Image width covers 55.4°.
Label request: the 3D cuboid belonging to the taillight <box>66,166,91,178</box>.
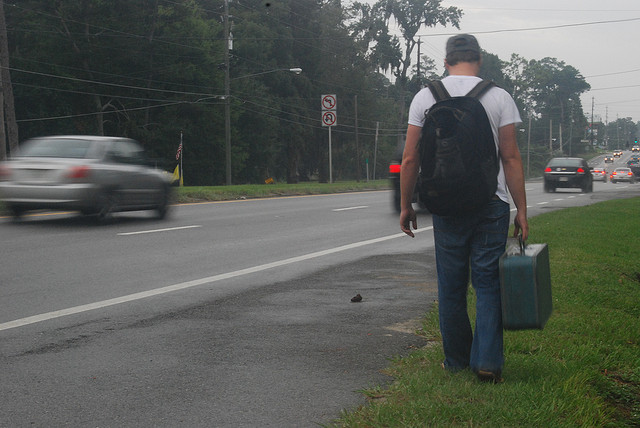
[{"bbox_3d":[-5.326,-0.919,13.433,0.446,0.246,0.093,-2,5,-26],"label":"taillight"}]

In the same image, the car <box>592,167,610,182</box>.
[{"bbox_3d":[29.665,-4.065,63.946,1.194,1.247,2.874,2,5,23],"label":"car"}]

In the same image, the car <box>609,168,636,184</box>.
[{"bbox_3d":[29.828,-3.721,59.377,1.624,1.184,3.730,-1,1,18],"label":"car"}]

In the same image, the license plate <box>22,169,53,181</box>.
[{"bbox_3d":[-6.233,-0.849,13.400,0.711,0.246,0.161,1,5,16],"label":"license plate"}]

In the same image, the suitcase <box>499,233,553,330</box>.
[{"bbox_3d":[1.714,0.592,5.051,0.339,0.971,0.989,-3,4,23],"label":"suitcase"}]

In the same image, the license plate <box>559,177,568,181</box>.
[{"bbox_3d":[12.931,-1.832,32.021,0.401,0.201,0.057,2,5,25],"label":"license plate"}]

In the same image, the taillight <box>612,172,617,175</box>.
[{"bbox_3d":[29.279,-3.964,60.090,0.289,0.276,0.287,0,-6,-1],"label":"taillight"}]
